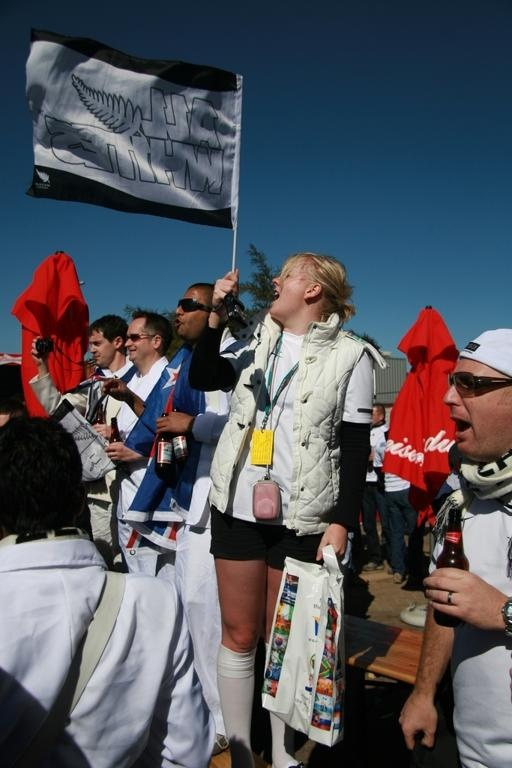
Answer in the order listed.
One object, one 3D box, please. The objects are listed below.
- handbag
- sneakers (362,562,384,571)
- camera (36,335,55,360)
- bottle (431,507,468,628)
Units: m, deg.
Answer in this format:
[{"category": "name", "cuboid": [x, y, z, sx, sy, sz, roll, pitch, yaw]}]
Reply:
[{"category": "handbag", "cuboid": [0.198, 0.929, 2.129, 0.349, 0.641, 0.189, 0, -3, 43]}, {"category": "sneakers", "cuboid": [1.674, 2.599, 8.219, 0.336, 0.131, 0.119, 12, -25, -42]}, {"category": "camera", "cuboid": [-1.632, -0.293, 4.553, 0.163, 0.151, 0.155, 2, 3, -3]}, {"category": "bottle", "cuboid": [0.541, 0.515, 1.591, 0.086, 0.344, 0.216, 2, -2, 18]}]
